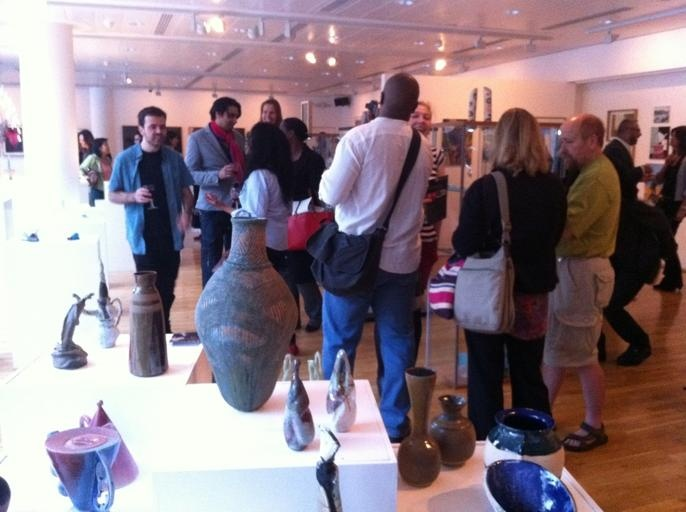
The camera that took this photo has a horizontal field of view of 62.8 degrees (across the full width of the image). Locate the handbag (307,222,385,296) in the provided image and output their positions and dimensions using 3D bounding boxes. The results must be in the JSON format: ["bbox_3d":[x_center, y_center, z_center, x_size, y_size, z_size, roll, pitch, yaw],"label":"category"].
[{"bbox_3d":[0.029,0.015,2.908,0.305,0.420,0.219,14,0,43],"label":"handbag"}]

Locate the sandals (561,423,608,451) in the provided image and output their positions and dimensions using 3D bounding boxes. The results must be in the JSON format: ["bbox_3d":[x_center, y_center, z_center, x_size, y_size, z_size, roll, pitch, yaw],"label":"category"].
[{"bbox_3d":[1.462,1.090,3.419,0.287,0.126,0.147,-4,7,-17],"label":"sandals"}]

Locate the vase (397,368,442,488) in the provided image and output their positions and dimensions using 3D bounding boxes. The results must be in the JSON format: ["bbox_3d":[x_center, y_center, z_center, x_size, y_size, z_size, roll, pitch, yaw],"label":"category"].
[{"bbox_3d":[0.280,0.602,1.983,0.154,0.398,0.171,6,14,12],"label":"vase"}]

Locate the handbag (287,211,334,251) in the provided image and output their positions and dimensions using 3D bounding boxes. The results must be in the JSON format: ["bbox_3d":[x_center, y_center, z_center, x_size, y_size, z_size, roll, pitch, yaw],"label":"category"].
[{"bbox_3d":[-0.212,-0.200,3.800,0.229,0.280,0.381,-4,7,-36],"label":"handbag"}]

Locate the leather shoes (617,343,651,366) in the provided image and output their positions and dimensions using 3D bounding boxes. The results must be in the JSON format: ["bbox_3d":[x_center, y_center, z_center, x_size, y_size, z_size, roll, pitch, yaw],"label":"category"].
[{"bbox_3d":[2.340,0.793,4.571,0.314,0.129,0.125,-8,10,-22],"label":"leather shoes"}]

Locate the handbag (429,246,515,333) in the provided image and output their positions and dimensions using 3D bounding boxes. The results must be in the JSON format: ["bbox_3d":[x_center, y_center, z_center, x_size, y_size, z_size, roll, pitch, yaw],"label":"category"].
[{"bbox_3d":[0.675,0.175,2.911,0.218,0.522,0.525,6,4,-38],"label":"handbag"}]

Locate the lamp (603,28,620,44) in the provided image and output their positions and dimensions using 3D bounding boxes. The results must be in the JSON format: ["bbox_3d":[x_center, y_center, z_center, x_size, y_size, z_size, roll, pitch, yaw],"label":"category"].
[{"bbox_3d":[3.942,-3.239,8.280,0.171,0.087,0.230,-3,7,4],"label":"lamp"}]

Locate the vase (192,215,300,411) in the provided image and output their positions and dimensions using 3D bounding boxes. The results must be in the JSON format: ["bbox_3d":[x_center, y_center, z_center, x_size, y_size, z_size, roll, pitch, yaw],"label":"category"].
[{"bbox_3d":[-0.367,0.230,2.162,0.404,0.742,0.412,1,13,-5],"label":"vase"}]

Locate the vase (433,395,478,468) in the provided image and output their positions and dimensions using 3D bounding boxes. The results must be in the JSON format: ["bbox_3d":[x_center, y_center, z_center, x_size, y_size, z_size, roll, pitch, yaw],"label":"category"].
[{"bbox_3d":[0.405,0.652,2.090,0.168,0.238,0.173,4,13,33],"label":"vase"}]

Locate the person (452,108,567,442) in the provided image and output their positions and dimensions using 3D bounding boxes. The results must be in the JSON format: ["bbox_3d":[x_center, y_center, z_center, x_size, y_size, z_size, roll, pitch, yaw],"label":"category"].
[{"bbox_3d":[0.939,0.187,3.123,0.513,1.931,0.518,3,19,16],"label":"person"}]
